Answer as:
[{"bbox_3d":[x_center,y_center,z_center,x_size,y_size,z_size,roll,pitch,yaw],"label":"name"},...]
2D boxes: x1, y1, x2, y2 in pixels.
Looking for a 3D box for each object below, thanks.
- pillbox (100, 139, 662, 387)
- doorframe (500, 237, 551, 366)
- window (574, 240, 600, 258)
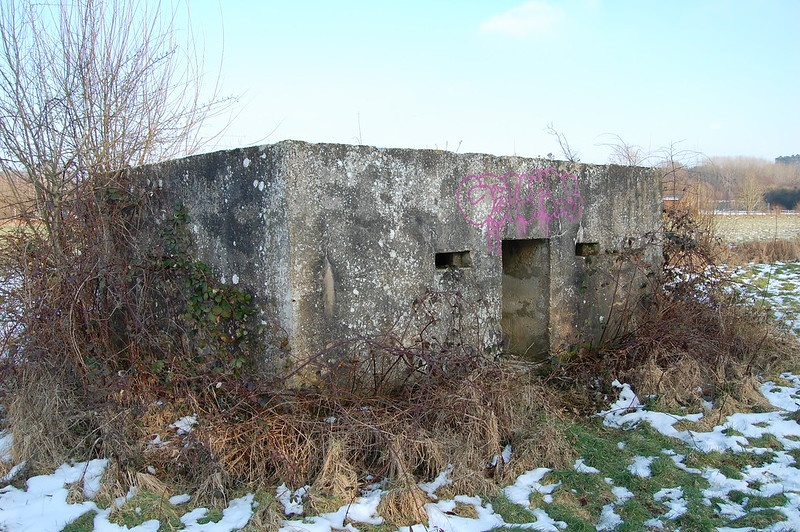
[{"bbox_3d":[0.294,-0.098,7.352,5.077,2.458,1.352,-5,5,-26],"label":"pillbox"},{"bbox_3d":[1.296,0.435,8.058,0.884,1.466,0.942,-2,-18,16],"label":"doorframe"},{"bbox_3d":[2.215,-0.208,7.989,0.213,0.144,0.203,4,-3,-42],"label":"window"}]
